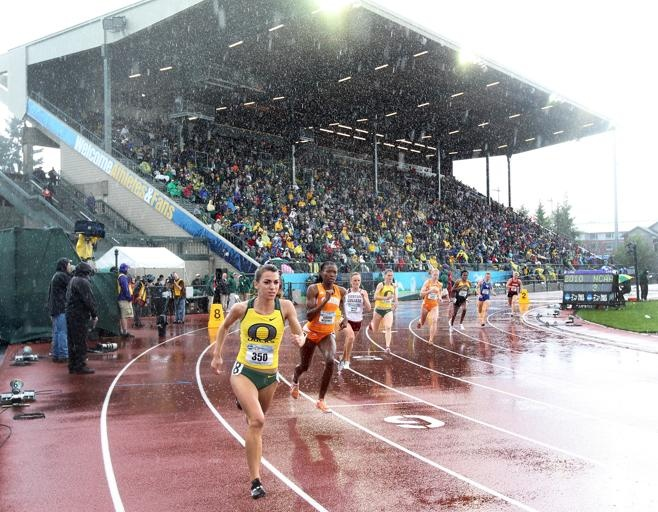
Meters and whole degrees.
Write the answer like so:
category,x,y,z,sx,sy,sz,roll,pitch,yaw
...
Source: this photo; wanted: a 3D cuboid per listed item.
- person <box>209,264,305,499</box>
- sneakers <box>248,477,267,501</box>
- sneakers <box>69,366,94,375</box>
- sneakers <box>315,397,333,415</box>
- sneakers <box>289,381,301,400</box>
category,x,y,z,sx,sy,sz,roll,pitch,yaw
person,-0.838,1.403,7.633,1.009,2.603,0.843,-1,2,-12
sneakers,-0.800,2.610,7.354,0.164,0.253,0.201,-1,2,-6
sneakers,-5.158,2.366,13.647,0.448,0.262,0.195,1,-4,-10
sneakers,-0.080,2.442,10.691,0.111,0.176,0.336,-5,4,-36
sneakers,-0.554,2.306,11.280,0.106,0.396,0.228,-7,-3,-27
